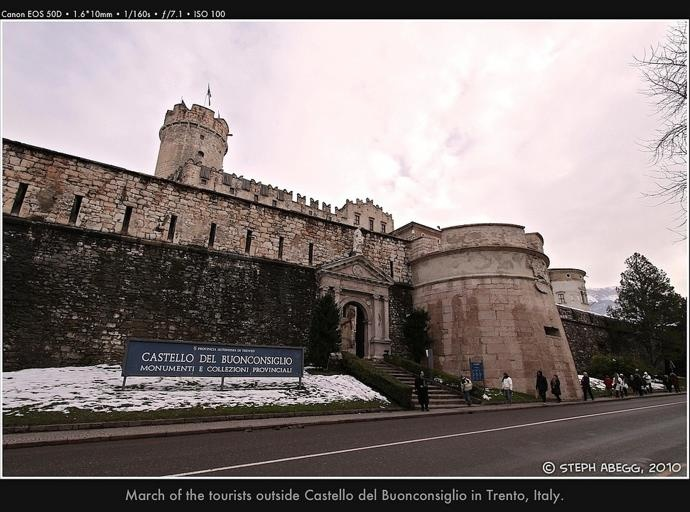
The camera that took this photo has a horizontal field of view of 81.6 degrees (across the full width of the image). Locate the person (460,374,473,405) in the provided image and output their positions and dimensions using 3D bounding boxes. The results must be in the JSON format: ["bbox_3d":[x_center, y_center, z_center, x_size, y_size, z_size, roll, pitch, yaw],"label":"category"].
[{"bbox_3d":[6.132,6.769,20.044,0.679,1.368,1.335,10,2,19],"label":"person"}]

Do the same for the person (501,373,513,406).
[{"bbox_3d":[8.277,6.765,20.241,0.507,1.572,0.988,10,2,24],"label":"person"}]

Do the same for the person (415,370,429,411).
[{"bbox_3d":[3.440,5.904,17.466,0.706,1.686,0.876,9,2,14],"label":"person"}]
